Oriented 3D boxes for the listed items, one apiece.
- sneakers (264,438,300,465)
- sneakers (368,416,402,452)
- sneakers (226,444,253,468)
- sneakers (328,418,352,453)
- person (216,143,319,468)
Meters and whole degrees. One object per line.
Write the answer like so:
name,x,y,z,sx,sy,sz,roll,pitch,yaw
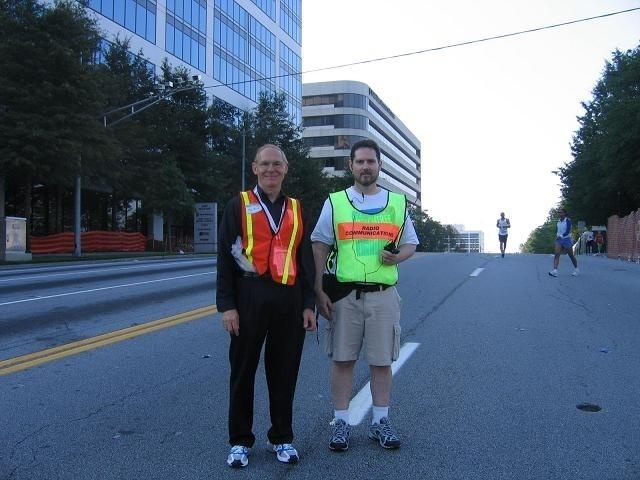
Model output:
sneakers,-0.280,1.591,3.595,0.248,0.111,0.229,0,3,-2
sneakers,0.519,1.541,3.750,0.108,0.153,0.293,4,-8,-23
sneakers,-0.602,1.591,3.477,0.075,0.108,0.216,1,-16,2
sneakers,0.153,1.532,3.745,0.156,0.183,0.206,0,3,3
person,-0.398,0.466,3.607,0.709,2.351,0.394,0,2,-4
